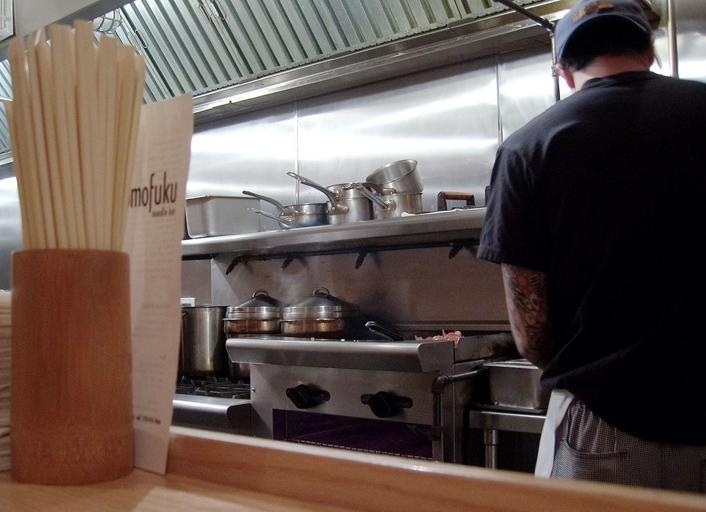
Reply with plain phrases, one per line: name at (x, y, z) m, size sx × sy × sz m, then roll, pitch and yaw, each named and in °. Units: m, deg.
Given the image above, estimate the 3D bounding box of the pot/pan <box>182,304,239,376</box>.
pot/pan at (-0.770, 0.446, 2.846) m, size 0.292 × 0.401 × 0.111 m, roll -13°, pitch 9°, yaw -15°

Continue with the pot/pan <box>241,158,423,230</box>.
pot/pan at (-0.052, -0.324, 2.901) m, size 0.815 × 0.303 × 0.382 m, roll -8°, pitch 8°, yaw 12°

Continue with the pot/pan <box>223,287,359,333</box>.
pot/pan at (-0.293, 0.287, 2.613) m, size 0.377 × 0.120 × 0.314 m, roll -1°, pitch -4°, yaw 27°
